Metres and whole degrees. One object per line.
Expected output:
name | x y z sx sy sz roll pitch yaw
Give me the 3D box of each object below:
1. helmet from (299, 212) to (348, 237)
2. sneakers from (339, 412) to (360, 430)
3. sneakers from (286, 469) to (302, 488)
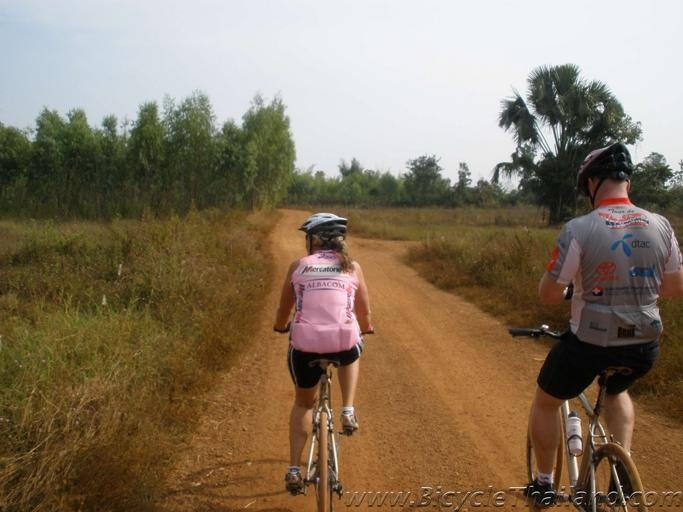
helmet | -0.223 -0.345 6.900 0.279 0.189 0.371 -1 3 -44
sneakers | 0.085 1.732 6.555 0.172 0.208 0.168 3 11 -9
sneakers | -0.500 2.301 6.470 0.169 0.210 0.108 3 10 -7
